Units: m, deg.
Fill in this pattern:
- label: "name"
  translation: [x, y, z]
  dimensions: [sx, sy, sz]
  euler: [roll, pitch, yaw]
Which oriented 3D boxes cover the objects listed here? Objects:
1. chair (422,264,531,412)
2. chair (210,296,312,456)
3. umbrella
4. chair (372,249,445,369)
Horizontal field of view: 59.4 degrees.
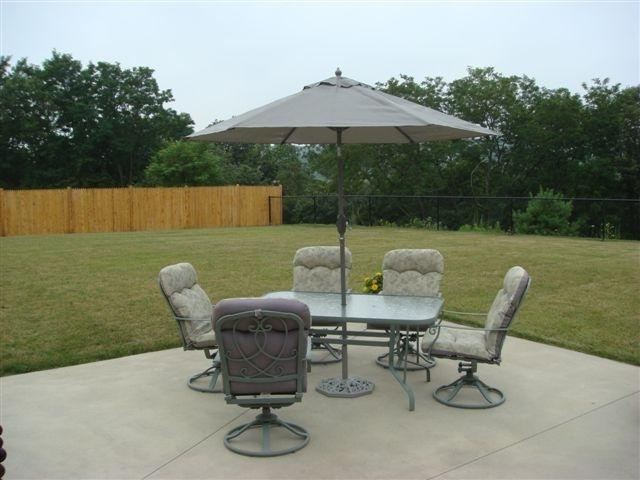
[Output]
- label: "chair"
  translation: [1.746, 1.094, 7.011]
  dimensions: [1.469, 2.014, 1.359]
  euler: [0, 2, 14]
- label: "chair"
  translation: [-0.545, 1.277, 5.344]
  dimensions: [0.895, 1.504, 0.421]
  euler: [0, 6, -2]
- label: "umbrella"
  translation: [0.211, -0.265, 6.719]
  dimensions: [3.501, 3.204, 3.315]
  euler: [2, 6, 35]
- label: "chair"
  translation: [1.122, 0.858, 7.269]
  dimensions: [0.953, 1.455, 1.011]
  euler: [0, 2, 11]
